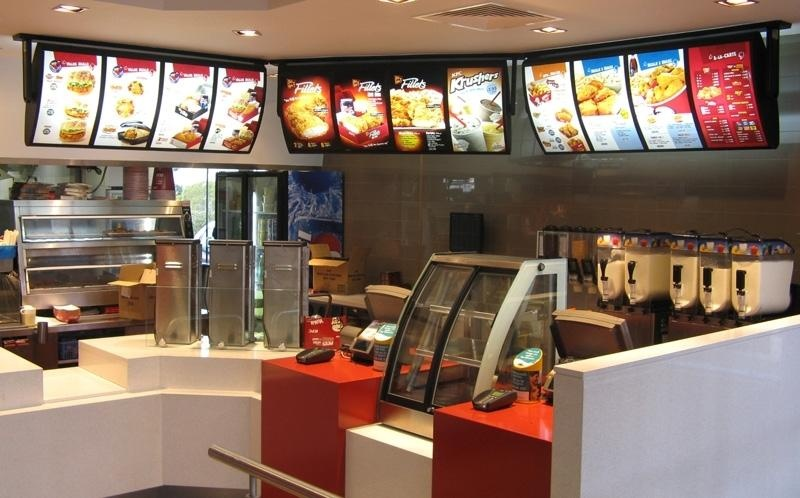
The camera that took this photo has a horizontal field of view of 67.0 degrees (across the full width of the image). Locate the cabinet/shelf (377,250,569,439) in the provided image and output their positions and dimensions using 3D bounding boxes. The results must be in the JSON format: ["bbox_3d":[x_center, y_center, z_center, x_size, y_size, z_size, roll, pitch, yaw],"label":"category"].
[{"bbox_3d":[0.318,0.429,4.474,1.175,1.549,1.437,-1,4,-41],"label":"cabinet/shelf"}]

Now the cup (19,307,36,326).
[{"bbox_3d":[-3.680,0.672,5.971,0.129,0.169,0.225,-5,6,-31],"label":"cup"}]

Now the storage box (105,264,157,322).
[{"bbox_3d":[-2.744,0.438,6.269,0.753,0.506,0.680,-1,5,-27],"label":"storage box"}]
